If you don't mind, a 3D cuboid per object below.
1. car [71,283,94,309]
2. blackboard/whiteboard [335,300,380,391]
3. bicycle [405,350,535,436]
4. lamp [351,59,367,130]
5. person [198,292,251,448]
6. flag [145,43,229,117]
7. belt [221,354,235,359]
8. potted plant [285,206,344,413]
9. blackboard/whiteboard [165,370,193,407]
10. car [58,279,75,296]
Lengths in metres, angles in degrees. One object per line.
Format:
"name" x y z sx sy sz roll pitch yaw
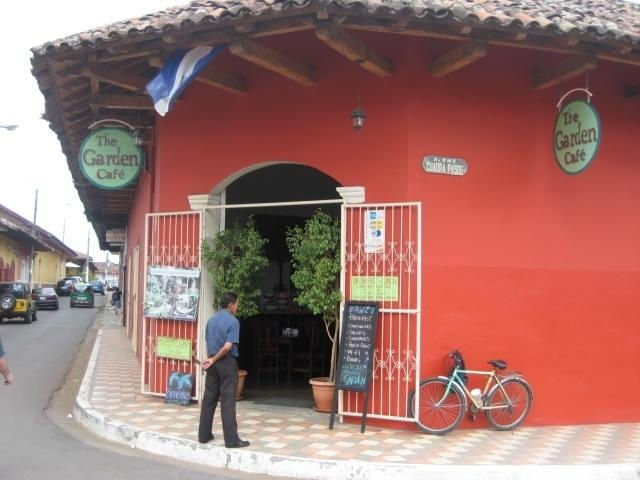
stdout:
"car" -15.296 3.510 38.386 0.991 0.963 1.894 0 4 -13
"blackboard/whiteboard" 0.538 1.582 8.948 0.596 1.324 0.176 -1 -7 34
"bicycle" 2.284 2.294 8.940 1.881 1.231 0.488 6 -6 -15
"lamp" 0.621 -2.238 9.220 0.238 1.162 0.609 3 -6 4
"person" -1.301 1.728 8.053 0.703 2.027 0.349 1 -6 20
"flag" -2.081 -2.586 9.509 0.165 1.141 1.140 31 -31 -29
"belt" -1.221 1.557 7.998 0.166 0.081 0.033 7 -7 -27
"potted plant" -0.127 1.226 10.491 1.006 3.304 2.704 3 -6 0
"blackboard/whiteboard" -2.412 2.511 10.083 0.494 0.510 0.211 2 -6 16
"car" -22.362 4.171 52.467 1.175 0.930 2.704 0 -1 -6
